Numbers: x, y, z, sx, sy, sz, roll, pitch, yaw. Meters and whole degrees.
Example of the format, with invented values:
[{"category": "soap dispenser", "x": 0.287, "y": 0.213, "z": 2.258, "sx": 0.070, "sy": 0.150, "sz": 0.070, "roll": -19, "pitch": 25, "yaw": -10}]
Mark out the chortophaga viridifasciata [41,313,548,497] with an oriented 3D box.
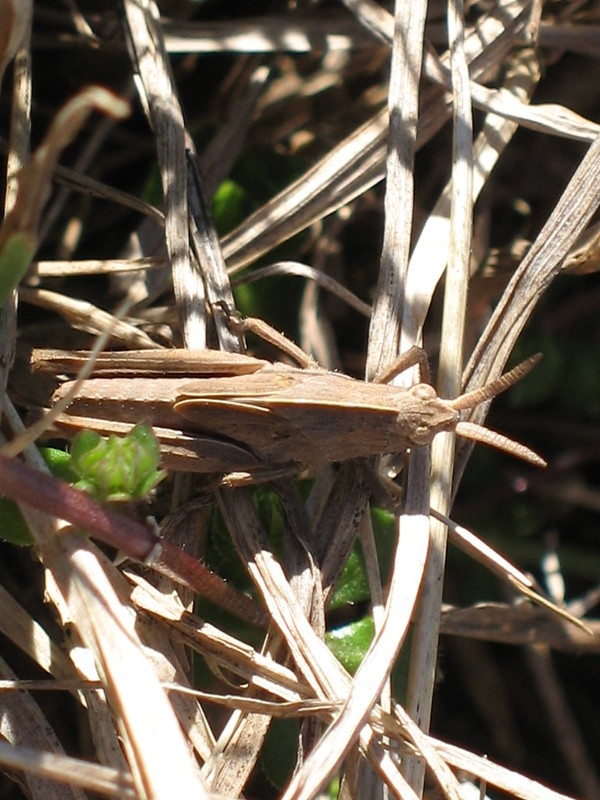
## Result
[{"category": "chortophaga viridifasciata", "x": -0.038, "y": 0.024, "z": 2.054, "sx": 1.010, "sy": 0.240, "sz": 0.245, "roll": -2, "pitch": 30, "yaw": 0}]
